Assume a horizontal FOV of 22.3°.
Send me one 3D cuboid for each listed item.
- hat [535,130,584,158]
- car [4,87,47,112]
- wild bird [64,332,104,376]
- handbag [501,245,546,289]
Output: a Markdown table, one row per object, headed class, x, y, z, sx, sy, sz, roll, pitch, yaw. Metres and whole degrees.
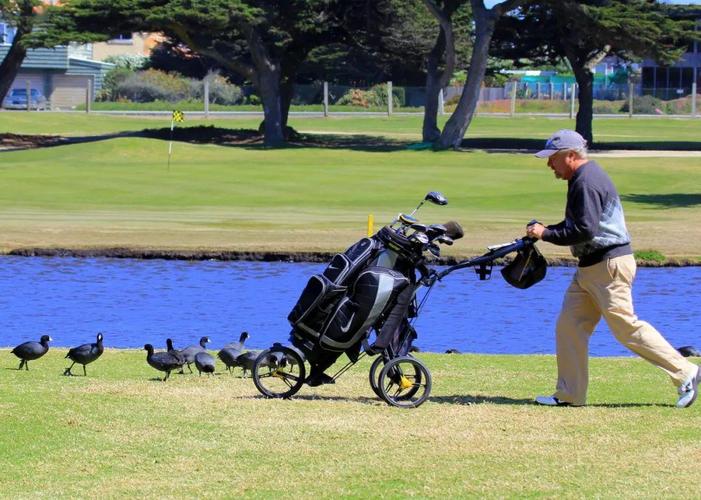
| class | x | y | z | sx | sy | sz | roll | pitch | yaw |
| --- | --- | --- | --- | --- | --- | --- | --- | --- | --- |
| hat | 4.526 | -2.305 | 38.102 | 0.964 | 0.445 | 0.586 | -2 | 5 | 3 |
| car | -17.723 | -8.361 | 97.305 | 2.260 | 1.202 | 5.713 | 1 | 5 | -10 |
| wild bird | -5.949 | 2.341 | 39.590 | 0.837 | 0.883 | 0.858 | 1 | 5 | -9 |
| handbag | 3.740 | 0.355 | 38.324 | 0.916 | 1.133 | 0.615 | -4 | 14 | -1 |
